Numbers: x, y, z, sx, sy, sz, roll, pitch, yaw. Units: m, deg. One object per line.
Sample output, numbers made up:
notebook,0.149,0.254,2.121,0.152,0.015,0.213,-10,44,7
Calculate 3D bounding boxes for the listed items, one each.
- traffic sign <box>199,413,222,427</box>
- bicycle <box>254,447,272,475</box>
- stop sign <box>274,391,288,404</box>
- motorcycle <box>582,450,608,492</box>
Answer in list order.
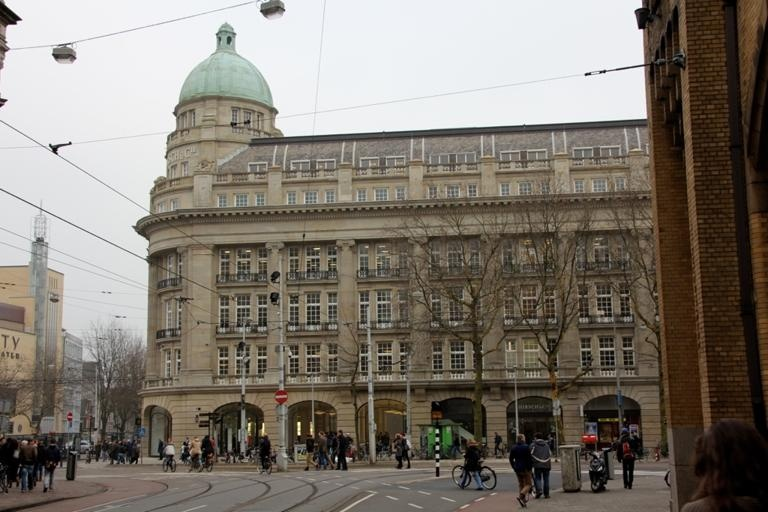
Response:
traffic sign,-12.932,12.457,88.971,0.900,1.289,2.021,-15,-22,34
bicycle,-6.356,11.573,64.950,0.779,0.939,1.556,13,-18,-32
stop sign,-5.475,7.633,64.006,0.667,0.637,1.146,-1,13,-7
motorcycle,9.146,9.291,50.810,0.804,1.970,1.871,-5,-18,9
